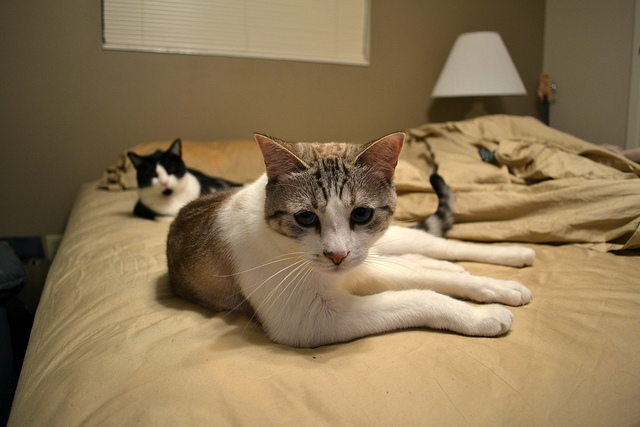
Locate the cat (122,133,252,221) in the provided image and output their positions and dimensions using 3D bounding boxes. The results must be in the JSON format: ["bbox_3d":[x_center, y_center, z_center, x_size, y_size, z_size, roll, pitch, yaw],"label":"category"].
[{"bbox_3d":[-1.055,-0.198,3.785,0.666,0.441,0.964,-1,7,7],"label":"cat"}]

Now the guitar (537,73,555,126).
[{"bbox_3d":[2.230,-1.136,4.955,0.149,0.507,0.197,-6,3,4],"label":"guitar"}]

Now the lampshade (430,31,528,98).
[{"bbox_3d":[1.425,-1.277,4.384,0.532,0.867,0.486,-3,10,-17],"label":"lampshade"}]
